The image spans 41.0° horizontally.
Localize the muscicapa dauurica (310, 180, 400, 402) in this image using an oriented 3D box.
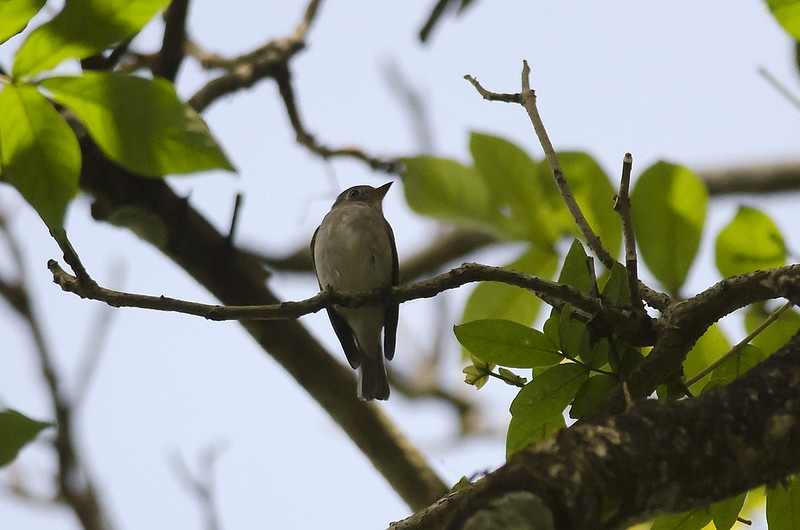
[{"bbox_3d":[-0.187,0.057,4.932,0.359,0.451,1.120,-1,-70,-8],"label":"muscicapa dauurica"}]
